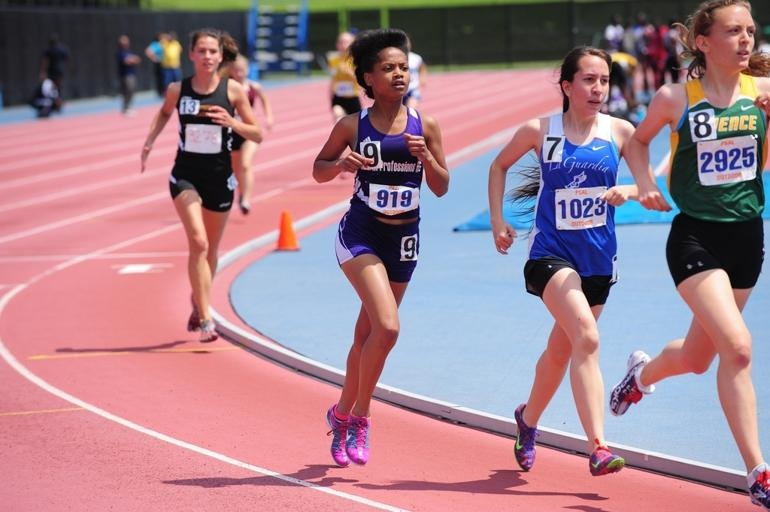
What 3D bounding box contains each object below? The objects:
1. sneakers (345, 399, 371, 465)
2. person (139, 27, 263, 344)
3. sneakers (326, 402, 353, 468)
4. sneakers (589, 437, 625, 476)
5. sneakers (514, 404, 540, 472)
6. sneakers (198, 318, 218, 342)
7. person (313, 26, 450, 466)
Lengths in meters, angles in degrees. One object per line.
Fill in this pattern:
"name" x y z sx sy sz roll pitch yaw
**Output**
"sneakers" -0.187 1.141 4.955 0.123 0.345 0.150 -3 -12 -10
"person" -1.680 -0.703 7.463 1.059 2.869 1.462 -6 16 -15
"sneakers" -0.292 1.165 5.085 0.179 0.378 0.162 -7 -6 -20
"sneakers" 1.253 1.159 4.422 0.121 0.178 0.182 -7 16 -18
"sneakers" 0.895 1.159 5.045 0.147 0.433 0.193 -2 -4 -16
"sneakers" -1.637 0.700 7.185 0.152 0.287 0.230 -5 16 -12
"person" -0.032 -0.014 5.011 0.866 2.808 0.872 0 15 4
